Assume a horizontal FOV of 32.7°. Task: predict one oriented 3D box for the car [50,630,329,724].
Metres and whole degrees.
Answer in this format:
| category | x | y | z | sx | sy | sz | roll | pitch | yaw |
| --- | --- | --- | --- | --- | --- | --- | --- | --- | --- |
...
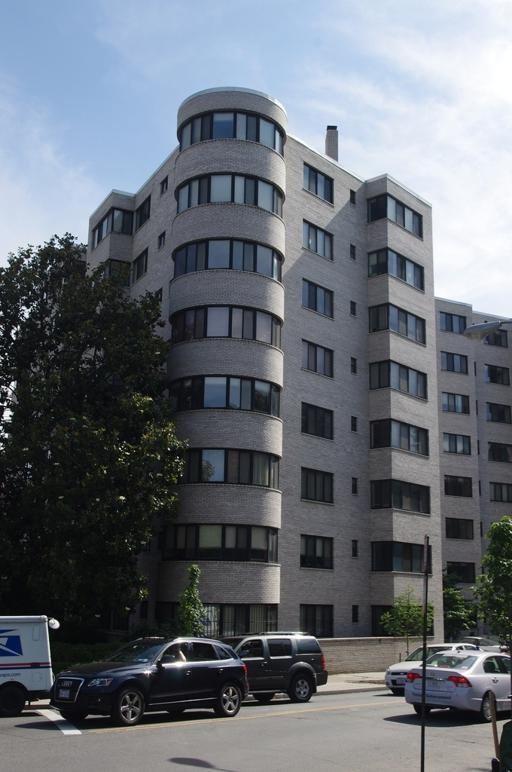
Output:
| category | x | y | z | sx | sy | sz | roll | pitch | yaw |
| --- | --- | --- | --- | --- | --- | --- | --- | --- | --- |
| car | -1.164 | 6.509 | 19.581 | 2.373 | 1.869 | 8.328 | -7 | -14 | 26 |
